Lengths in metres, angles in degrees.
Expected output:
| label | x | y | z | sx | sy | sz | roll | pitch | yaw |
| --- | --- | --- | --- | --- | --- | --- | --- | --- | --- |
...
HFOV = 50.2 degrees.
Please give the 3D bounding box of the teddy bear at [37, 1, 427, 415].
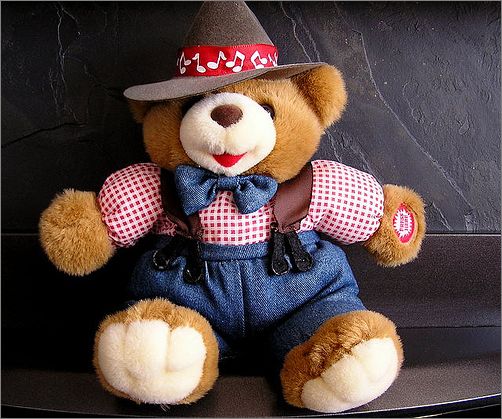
| label | x | y | z | sx | sy | sz | roll | pitch | yaw |
| --- | --- | --- | --- | --- | --- | --- | --- | --- | --- |
| teddy bear | -0.077 | 0.001 | 1.142 | 0.900 | 0.529 | 0.818 | 0 | 100 | -5 |
